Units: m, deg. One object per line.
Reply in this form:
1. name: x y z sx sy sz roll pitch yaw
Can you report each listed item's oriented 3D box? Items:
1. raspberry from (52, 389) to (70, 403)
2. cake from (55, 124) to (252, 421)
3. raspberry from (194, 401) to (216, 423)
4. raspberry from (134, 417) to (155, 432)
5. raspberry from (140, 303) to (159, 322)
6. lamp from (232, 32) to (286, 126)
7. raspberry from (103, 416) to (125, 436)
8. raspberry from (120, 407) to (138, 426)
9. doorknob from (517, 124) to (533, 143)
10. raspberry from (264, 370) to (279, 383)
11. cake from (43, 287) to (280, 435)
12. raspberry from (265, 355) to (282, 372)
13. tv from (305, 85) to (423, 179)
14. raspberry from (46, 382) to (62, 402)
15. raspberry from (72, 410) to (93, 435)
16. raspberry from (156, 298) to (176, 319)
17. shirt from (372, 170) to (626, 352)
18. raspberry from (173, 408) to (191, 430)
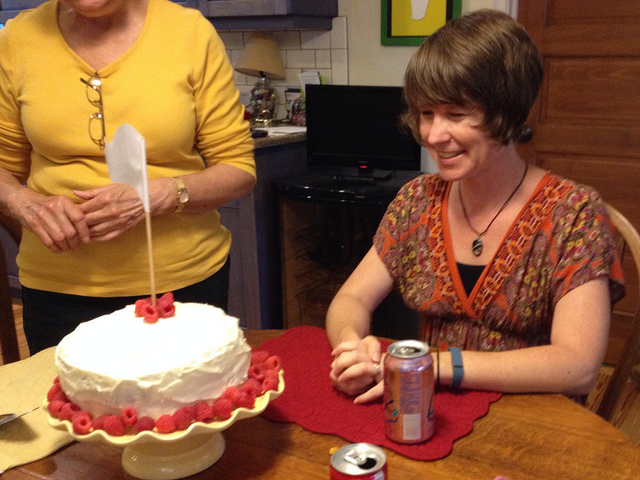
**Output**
1. raspberry: -0.468 0.283 0.936 0.021 0.014 0.036 -20 27 -39
2. cake: -0.315 0.040 0.991 0.374 0.501 0.375 -3 15 1
3. raspberry: -0.197 0.293 0.882 0.034 0.029 0.026 6 22 20
4. raspberry: -0.289 0.304 0.859 0.025 0.015 0.021 -27 -32 36
5. raspberry: -0.340 0.145 1.047 0.024 0.009 0.063 -20 31 -22
6. lamp: -0.394 -1.087 3.542 0.318 0.548 0.317 -11 21 -37
7. raspberry: -0.336 0.303 0.850 0.031 0.027 0.018 7 21 21
8. raspberry: -0.317 0.292 0.859 0.026 0.021 0.022 -7 21 -11
9. doorknob: 0.511 -0.261 1.316 0.042 0.043 0.043 13 64 24
10. raspberry: -0.090 0.257 0.973 0.025 0.025 0.032 -4 21 -4
11. cake: -0.294 0.211 0.976 0.425 0.126 0.320 -2 21 2
12. raspberry: -0.092 0.242 1.014 0.026 0.029 0.048 -1 21 3
13. tv: 0.226 -0.572 2.714 0.667 0.519 0.197 3 14 21
14. raspberry: -0.493 0.281 0.974 0.031 0.009 0.030 -45 18 13
15. raspberry: -0.400 0.303 0.875 0.031 0.028 0.051 -12 23 -25
16. raspberry: -0.311 0.140 1.048 0.035 0.014 0.029 0 40 -21
17. shirt: 0.445 0.065 1.377 0.625 0.443 0.218 10 24 30
18. raspberry: -0.229 0.295 0.867 0.025 0.031 0.014 -42 -8 11
